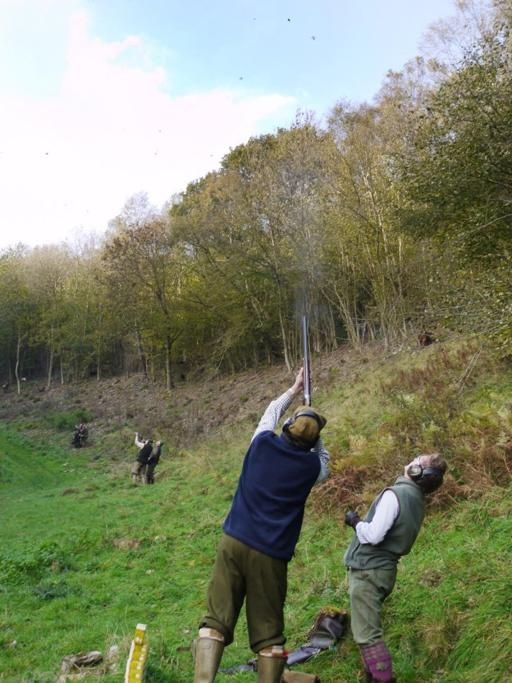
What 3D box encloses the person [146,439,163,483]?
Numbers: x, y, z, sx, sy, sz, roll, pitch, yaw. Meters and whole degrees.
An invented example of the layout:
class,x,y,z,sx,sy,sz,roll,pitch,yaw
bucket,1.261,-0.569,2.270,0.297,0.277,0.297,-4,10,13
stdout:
class,x,y,z,sx,sy,sz,roll,pitch,yaw
person,-2.583,3.082,15.930,0.347,0.364,0.969,-1,37,15
